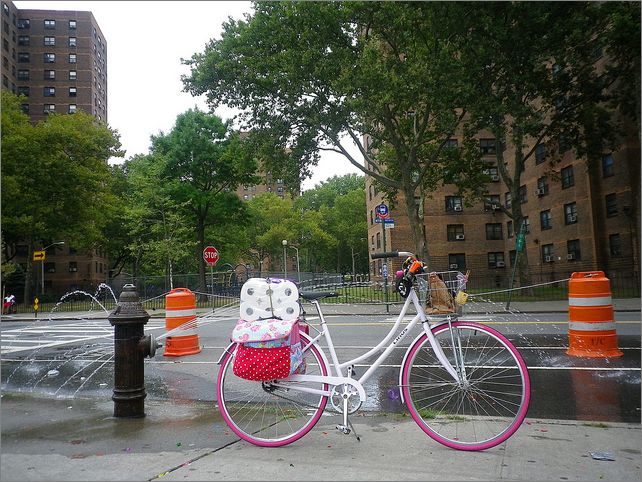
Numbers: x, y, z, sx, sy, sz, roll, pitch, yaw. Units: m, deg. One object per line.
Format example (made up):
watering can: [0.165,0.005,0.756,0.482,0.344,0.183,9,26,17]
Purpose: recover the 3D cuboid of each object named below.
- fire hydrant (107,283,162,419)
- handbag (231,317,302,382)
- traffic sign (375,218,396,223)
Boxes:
fire hydrant: [-3.236,1.866,9.892,0.775,2.272,0.442,1,-7,-17]
handbag: [-0.830,1.674,8.805,1.008,0.950,0.398,-3,-7,9]
traffic sign: [3.262,-1.070,29.554,0.274,0.357,1.508,-5,3,-38]
